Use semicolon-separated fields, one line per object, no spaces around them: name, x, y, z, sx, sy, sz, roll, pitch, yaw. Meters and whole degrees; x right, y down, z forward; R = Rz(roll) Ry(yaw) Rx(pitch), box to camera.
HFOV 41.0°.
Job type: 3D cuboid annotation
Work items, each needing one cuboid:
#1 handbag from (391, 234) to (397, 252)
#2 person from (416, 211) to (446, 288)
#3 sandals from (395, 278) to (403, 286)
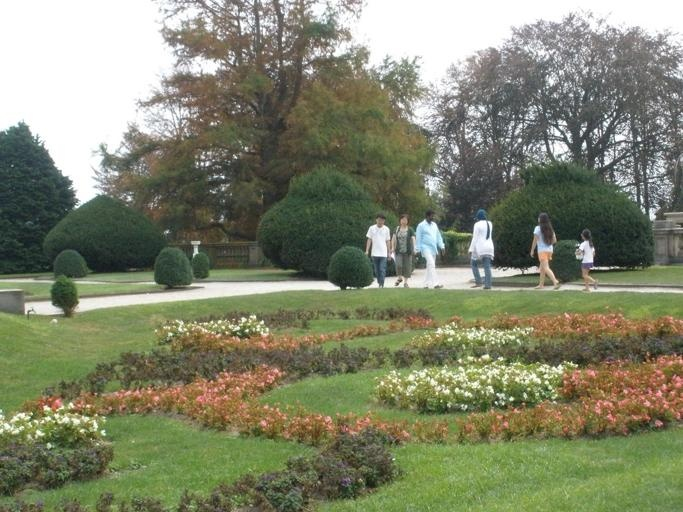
handbag;1.513;-0.364;26.054;0.131;0.534;0.115;14;11;14
person;2.444;-0.132;25.303;0.746;2.199;1.049;-2;11;6
sandals;1.652;0.769;26.425;0.143;0.229;0.457;-2;4;17
